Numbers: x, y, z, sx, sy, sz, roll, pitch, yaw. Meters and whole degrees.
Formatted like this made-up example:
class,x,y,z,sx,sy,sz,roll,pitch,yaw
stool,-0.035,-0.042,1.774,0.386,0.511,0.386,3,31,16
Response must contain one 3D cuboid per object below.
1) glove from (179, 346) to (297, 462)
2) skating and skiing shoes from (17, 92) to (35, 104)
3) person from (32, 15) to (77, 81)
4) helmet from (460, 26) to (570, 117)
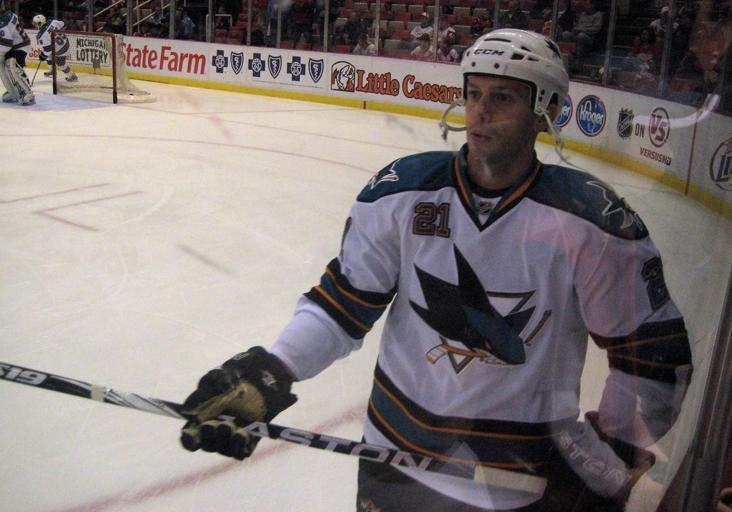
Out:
class,x,y,z,sx,sy,sz,roll,pitch,yaw
glove,-0.249,0.293,1.330,0.152,0.129,0.247,15,23,28
skating and skiing shoes,-5.330,-2.492,10.309,0.169,0.112,0.240,1,11,-3
person,-6.207,-4.155,13.027,0.693,1.416,0.520,-8,51,-19
helmet,0.329,-0.419,1.501,0.221,0.210,0.177,-1,6,-10
